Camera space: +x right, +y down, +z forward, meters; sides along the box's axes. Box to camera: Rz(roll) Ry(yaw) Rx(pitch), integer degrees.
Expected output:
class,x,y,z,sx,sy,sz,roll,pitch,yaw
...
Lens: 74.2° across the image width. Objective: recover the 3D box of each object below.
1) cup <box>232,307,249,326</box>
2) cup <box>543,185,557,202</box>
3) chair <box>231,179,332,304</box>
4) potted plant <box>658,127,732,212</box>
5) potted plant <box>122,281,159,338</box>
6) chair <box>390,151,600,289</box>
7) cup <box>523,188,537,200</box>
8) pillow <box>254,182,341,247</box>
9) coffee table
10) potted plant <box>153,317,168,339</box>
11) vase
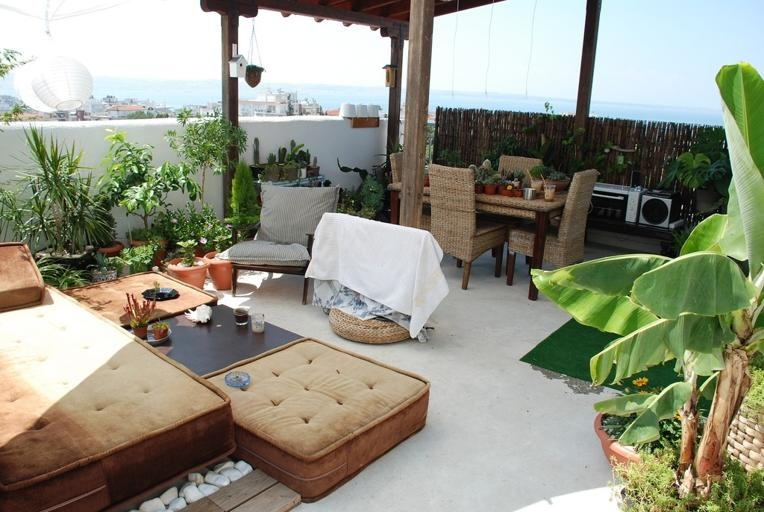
class,x,y,z,sx,sy,sz,roll,pitch,yaw
cup,-1.337,0.568,4.818,0.143,0.139,0.156,1,10,0
cup,2.205,-0.842,6.684,0.190,0.232,0.200,1,6,0
chair,-1.240,-0.234,6.359,1.433,1.256,1.536,-2,15,-12
potted plant,4.829,-1.302,7.684,0.659,1.266,1.128,-3,18,-9
potted plant,-2.180,0.490,4.570,0.272,0.459,0.209,-1,1,11
chair,1.829,-0.423,6.821,1.794,1.578,1.214,8,20,24
cup,1.946,-0.825,6.674,0.119,0.122,0.163,1,6,14
pillow,-1.077,-0.503,6.331,0.907,0.731,0.329,2,-24,8
coffee table,-1.451,0.756,4.411,0.615,0.154,0.644,24,32,39
potted plant,-1.940,0.619,4.390,0.116,0.132,0.127,8,14,20
vase,1.774,1.388,3.685,0.428,0.245,0.438,9,24,29
